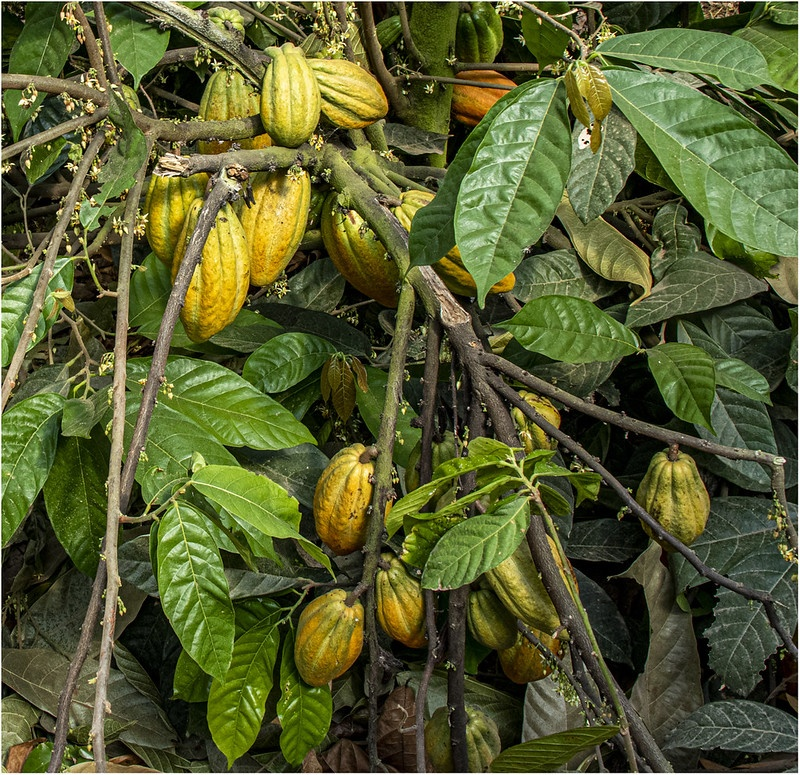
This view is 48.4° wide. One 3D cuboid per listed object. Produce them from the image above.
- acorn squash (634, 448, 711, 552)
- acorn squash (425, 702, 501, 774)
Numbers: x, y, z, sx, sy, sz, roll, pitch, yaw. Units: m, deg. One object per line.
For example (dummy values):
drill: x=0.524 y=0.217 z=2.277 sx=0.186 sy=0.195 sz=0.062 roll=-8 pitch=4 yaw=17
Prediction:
acorn squash: x=0.312 y=0.128 z=1.028 sx=0.084 sy=0.126 sz=0.085 roll=-7 pitch=23 yaw=-7
acorn squash: x=0.073 y=0.381 z=1.009 sx=0.091 sy=0.099 sz=0.084 roll=-1 pitch=12 yaw=5
